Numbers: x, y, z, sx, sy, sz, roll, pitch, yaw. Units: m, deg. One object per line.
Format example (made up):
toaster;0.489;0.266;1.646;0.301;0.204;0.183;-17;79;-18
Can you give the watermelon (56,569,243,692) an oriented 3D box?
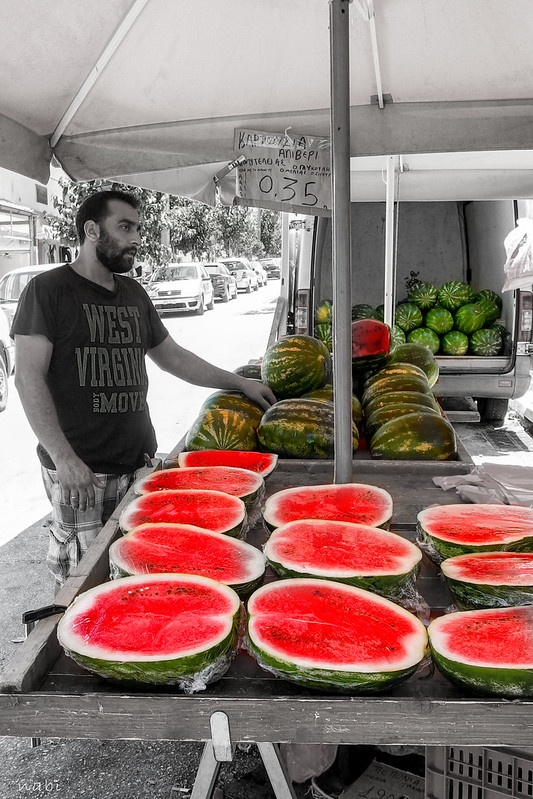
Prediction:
watermelon;-0.170;0.339;0.829;0.260;0.075;0.219;-2;10;-2

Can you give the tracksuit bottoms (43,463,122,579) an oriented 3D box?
tracksuit bottoms;-0.656;0.415;2.051;0.286;0.130;0.568;0;24;-1

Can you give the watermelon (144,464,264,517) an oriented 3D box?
watermelon;-0.162;0.218;1.511;0.178;0.057;0.157;6;12;13
